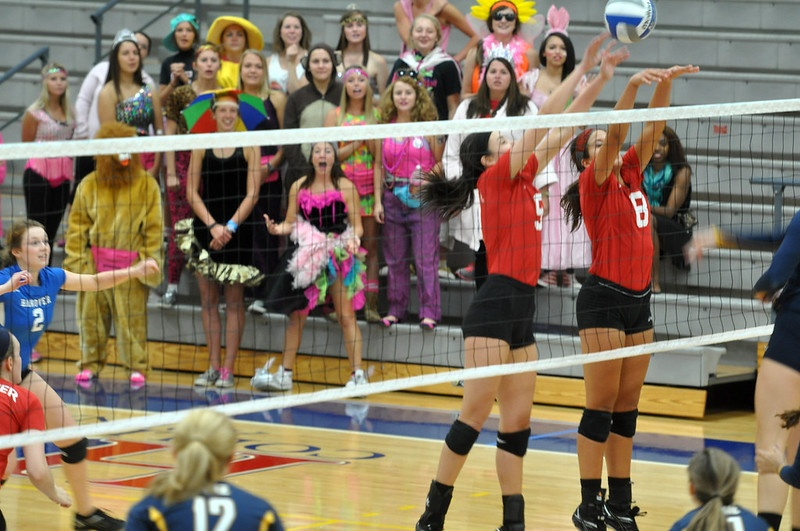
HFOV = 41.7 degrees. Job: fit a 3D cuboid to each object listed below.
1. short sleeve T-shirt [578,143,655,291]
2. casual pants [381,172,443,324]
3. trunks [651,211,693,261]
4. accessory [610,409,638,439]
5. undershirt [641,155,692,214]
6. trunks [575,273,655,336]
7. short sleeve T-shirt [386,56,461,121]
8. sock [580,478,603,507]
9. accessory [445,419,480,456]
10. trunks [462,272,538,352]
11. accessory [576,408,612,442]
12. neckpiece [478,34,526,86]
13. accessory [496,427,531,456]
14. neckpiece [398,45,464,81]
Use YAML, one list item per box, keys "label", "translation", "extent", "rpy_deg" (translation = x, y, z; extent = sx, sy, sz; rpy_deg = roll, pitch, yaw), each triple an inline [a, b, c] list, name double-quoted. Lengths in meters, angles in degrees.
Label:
- label: "short sleeve T-shirt"
  translation: [1.772, -0.393, 8.520]
  extent: [0.551, 1.387, 0.442]
  rpy_deg: [3, -12, -35]
- label: "casual pants"
  translation: [0.098, -0.133, 11.137]
  extent: [0.607, 1.549, 0.453]
  rpy_deg: [5, 12, 20]
- label: "trunks"
  translation: [2.880, -0.308, 11.095]
  extent: [0.334, 0.679, 0.196]
  rpy_deg: [2, 19, 11]
- label: "accessory"
  translation: [1.807, 1.267, 8.416]
  extent: [0.183, 0.205, 0.218]
  rpy_deg: [3, -9, 2]
- label: "undershirt"
  translation: [2.804, -0.927, 11.221]
  extent: [0.540, 0.424, 0.689]
  rpy_deg: [17, -30, 24]
- label: "trunks"
  translation: [1.787, 0.358, 8.542]
  extent: [0.630, 0.644, 0.471]
  rpy_deg: [-4, 0, -23]
- label: "short sleeve T-shirt"
  translation: [0.307, -1.939, 11.578]
  extent: [0.742, 0.853, 0.463]
  rpy_deg: [-4, 37, 4]
- label: "sock"
  translation: [1.510, 1.794, 8.308]
  extent: [0.165, 0.188, 0.170]
  rpy_deg: [2, -2, -5]
- label: "accessory"
  translation: [0.470, 1.317, 8.044]
  extent: [0.243, 0.284, 0.105]
  rpy_deg: [3, 2, 3]
- label: "trunks"
  translation: [0.826, 0.379, 8.305]
  extent: [0.430, 0.594, 0.763]
  rpy_deg: [3, -5, 38]
- label: "accessory"
  translation: [1.549, 1.254, 8.387]
  extent: [0.220, 0.268, 0.240]
  rpy_deg: [11, 2, 3]
- label: "neckpiece"
  translation: [1.189, -2.216, 11.166]
  extent: [0.446, 0.526, 0.206]
  rpy_deg: [8, -6, -4]
- label: "accessory"
  translation: [0.897, 1.366, 8.218]
  extent: [0.200, 0.201, 0.215]
  rpy_deg: [3, -4, 24]
- label: "neckpiece"
  translation: [0.267, -2.196, 11.444]
  extent: [0.613, 0.330, 0.365]
  rpy_deg: [8, 3, 7]
